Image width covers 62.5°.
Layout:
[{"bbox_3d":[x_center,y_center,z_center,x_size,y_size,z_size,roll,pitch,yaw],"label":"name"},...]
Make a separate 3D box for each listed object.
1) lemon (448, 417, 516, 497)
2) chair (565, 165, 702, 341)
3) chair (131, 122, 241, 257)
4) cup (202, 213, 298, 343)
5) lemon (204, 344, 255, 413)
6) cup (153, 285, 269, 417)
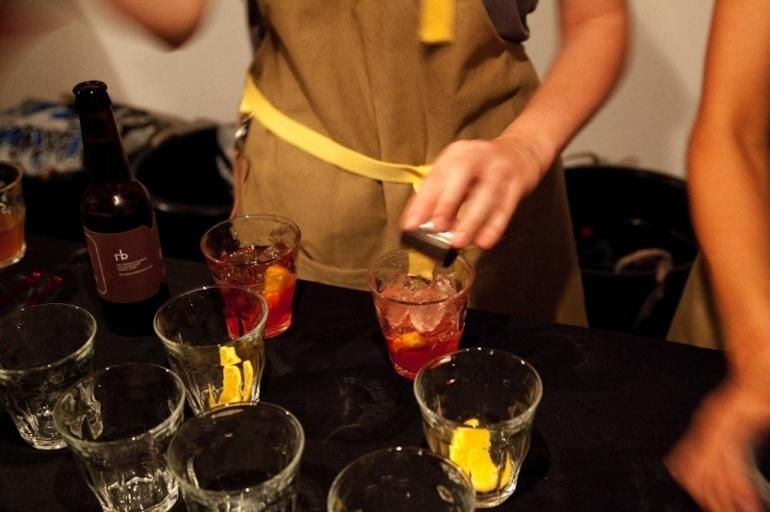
[{"bbox_3d":[0.137,0.310,0.996,0.101,0.085,0.115,-14,42,-10],"label":"lemon"},{"bbox_3d":[0.688,-0.028,1.737,0.250,0.380,0.284,-31,46,-17],"label":"chair"},{"bbox_3d":[-0.626,-0.232,2.143,0.375,0.416,0.373,3,74,-5],"label":"chair"},{"bbox_3d":[-0.256,0.073,1.262,0.157,0.159,0.147,-2,17,1],"label":"cup"},{"bbox_3d":[-0.266,0.233,1.115,0.091,0.079,0.127,0,41,-17],"label":"lemon"},{"bbox_3d":[-0.345,0.172,1.185,0.260,0.228,0.257,-3,-7,0],"label":"cup"}]
